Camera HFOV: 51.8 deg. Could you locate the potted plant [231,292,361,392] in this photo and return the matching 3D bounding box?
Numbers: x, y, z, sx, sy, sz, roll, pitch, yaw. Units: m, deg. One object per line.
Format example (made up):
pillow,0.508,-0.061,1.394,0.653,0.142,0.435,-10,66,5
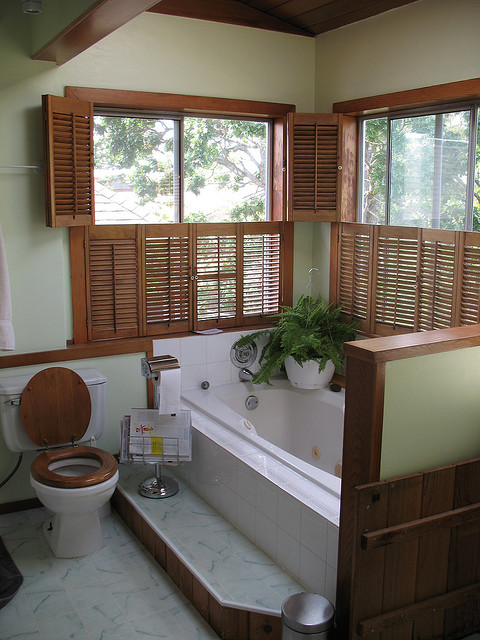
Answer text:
potted plant,0.369,0.103,3.174,0.657,0.438,0.662,-8,15,-31
